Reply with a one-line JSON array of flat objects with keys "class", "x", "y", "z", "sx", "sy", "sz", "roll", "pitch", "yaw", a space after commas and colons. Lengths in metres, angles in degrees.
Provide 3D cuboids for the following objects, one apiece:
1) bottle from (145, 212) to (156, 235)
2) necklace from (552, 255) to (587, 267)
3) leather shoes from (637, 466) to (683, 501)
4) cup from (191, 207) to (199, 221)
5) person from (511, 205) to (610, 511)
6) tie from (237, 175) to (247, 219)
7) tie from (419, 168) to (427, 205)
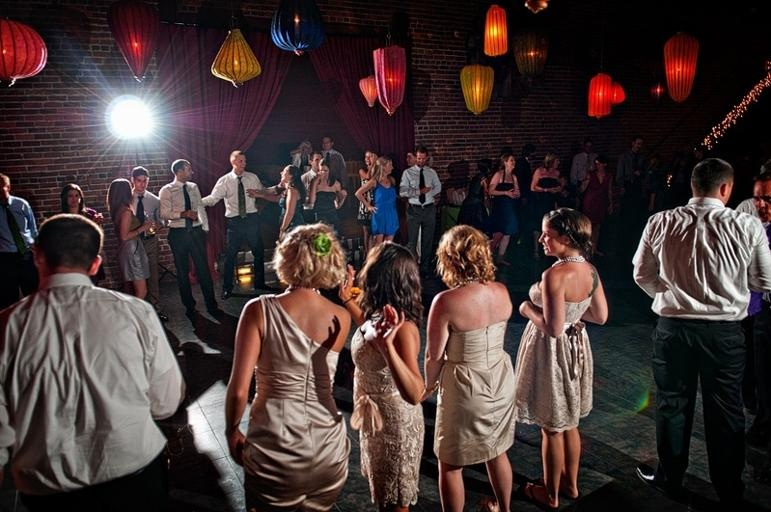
[{"class": "bottle", "x": -2.703, "y": -0.352, "z": 5.952, "sx": 0.191, "sy": 0.246, "sz": 0.087, "roll": -3, "pitch": 2, "yaw": 33}, {"class": "necklace", "x": 1.193, "y": 0.038, "z": 3.334, "sx": 0.207, "sy": 0.068, "sz": 0.150, "roll": 0, "pitch": 1, "yaw": 16}, {"class": "leather shoes", "x": 1.917, "y": 1.586, "z": 3.603, "sx": 0.113, "sy": 0.126, "sz": 0.315, "roll": -20, "pitch": 38, "yaw": -26}, {"class": "cup", "x": -2.299, "y": -0.459, "z": 6.159, "sx": 0.041, "sy": 0.104, "sz": 0.077, "roll": 4, "pitch": 2, "yaw": 14}, {"class": "person", "x": 1.162, "y": 0.689, "z": 3.487, "sx": 0.564, "sy": 1.993, "sz": 0.396, "roll": -2, "pitch": 2, "yaw": -27}, {"class": "tie", "x": -1.926, "y": -0.766, "z": 6.836, "sx": 0.101, "sy": 0.552, "sz": 0.128, "roll": -1, "pitch": 2, "yaw": -16}, {"class": "tie", "x": 0.572, "y": -1.068, "z": 8.050, "sx": 0.096, "sy": 0.557, "sz": 0.199, "roll": -1, "pitch": 2, "yaw": 4}]
